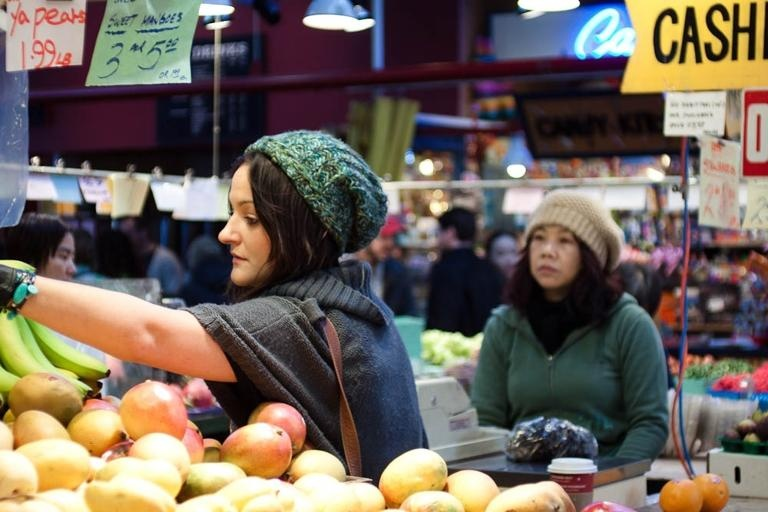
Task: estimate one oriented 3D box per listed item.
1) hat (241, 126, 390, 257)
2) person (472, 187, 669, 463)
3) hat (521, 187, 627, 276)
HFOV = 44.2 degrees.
[{"bbox_3d":[-0.245,-0.184,3.712,0.473,0.373,0.447,22,7,-24],"label":"hat"},{"bbox_3d":[0.952,0.317,4.848,1.028,1.311,0.432,1,1,39],"label":"person"},{"bbox_3d":[0.987,-0.059,4.907,0.416,0.273,0.388,31,-23,11],"label":"hat"}]
